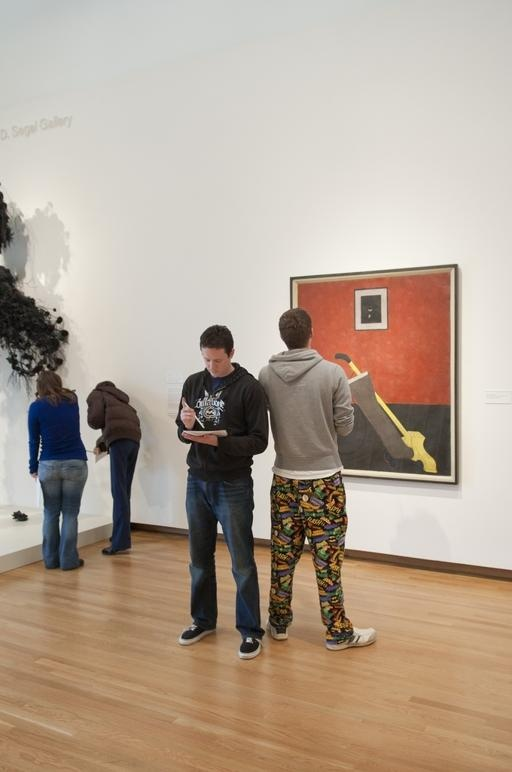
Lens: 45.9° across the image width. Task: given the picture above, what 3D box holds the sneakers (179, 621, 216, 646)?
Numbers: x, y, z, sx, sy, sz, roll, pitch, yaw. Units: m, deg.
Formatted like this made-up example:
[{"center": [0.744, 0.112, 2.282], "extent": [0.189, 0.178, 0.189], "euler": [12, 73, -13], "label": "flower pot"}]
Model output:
[{"center": [-0.288, 1.222, 3.004], "extent": [0.068, 0.079, 0.205], "euler": [-4, -10, 32], "label": "sneakers"}]

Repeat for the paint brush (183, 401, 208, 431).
[{"center": [-0.272, 0.136, 2.727], "extent": [0.027, 0.051, 0.189], "euler": [-20, -38, 10], "label": "paint brush"}]

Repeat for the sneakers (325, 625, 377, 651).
[{"center": [0.456, 1.209, 2.925], "extent": [0.235, 0.104, 0.094], "euler": [-7, 7, -22], "label": "sneakers"}]

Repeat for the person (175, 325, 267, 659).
[{"center": [-0.157, 0.488, 2.838], "extent": [0.423, 1.509, 0.582], "euler": [-1, -1, -8], "label": "person"}]

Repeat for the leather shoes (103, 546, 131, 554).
[{"center": [-1.082, 1.263, 4.700], "extent": [0.214, 0.065, 0.167], "euler": [0, -1, -14], "label": "leather shoes"}]

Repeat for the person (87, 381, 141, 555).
[{"center": [-1.130, 0.648, 4.863], "extent": [0.409, 1.305, 0.456], "euler": [0, -1, -37], "label": "person"}]

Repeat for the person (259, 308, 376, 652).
[{"center": [0.246, 0.543, 2.820], "extent": [0.445, 1.408, 0.328], "euler": [-1, -1, 10], "label": "person"}]

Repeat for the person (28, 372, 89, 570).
[{"center": [-1.448, 0.596, 4.403], "extent": [0.403, 1.401, 0.380], "euler": [0, -1, -15], "label": "person"}]
